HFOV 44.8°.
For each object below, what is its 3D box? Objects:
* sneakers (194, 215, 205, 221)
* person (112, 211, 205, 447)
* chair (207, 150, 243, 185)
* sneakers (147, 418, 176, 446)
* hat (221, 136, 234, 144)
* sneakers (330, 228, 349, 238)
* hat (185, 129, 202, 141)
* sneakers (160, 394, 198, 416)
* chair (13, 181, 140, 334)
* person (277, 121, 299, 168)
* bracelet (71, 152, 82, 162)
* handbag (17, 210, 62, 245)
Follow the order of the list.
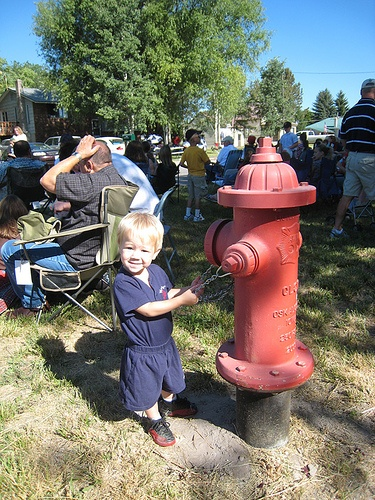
[{"bbox_3d":[0.190,-0.544,7.724,0.080,0.089,0.199,7,12,24],"label":"sneakers"},{"bbox_3d":[-0.150,0.392,2.220,0.402,1.171,0.421,2,16,-1],"label":"person"},{"bbox_3d":[0.874,-1.759,9.670,0.746,0.741,1.142,-7,12,-26],"label":"chair"},{"bbox_3d":[-0.132,0.906,2.252,0.084,0.061,0.163,-6,10,-33],"label":"sneakers"},{"bbox_3d":[0.971,-2.551,10.490,0.303,0.138,0.223,6,-6,-35],"label":"hat"},{"bbox_3d":[1.966,-0.218,5.886,0.259,0.100,0.092,-4,14,-41],"label":"sneakers"},{"bbox_3d":[0.102,-2.096,8.152,0.265,0.133,0.180,-32,26,-10],"label":"hat"},{"bbox_3d":[-0.052,0.844,2.453,0.240,0.103,0.089,-1,4,-9],"label":"sneakers"},{"bbox_3d":[-0.908,0.058,3.466,0.988,1.043,0.826,0,8,8],"label":"chair"},{"bbox_3d":[2.368,-2.497,10.686,0.375,0.928,0.437,-16,21,-41],"label":"person"},{"bbox_3d":[-0.780,-0.672,3.227,0.072,0.067,0.049,26,47,22],"label":"bracelet"},{"bbox_3d":[-1.055,-0.169,3.264,0.281,0.272,0.119,1,38,4],"label":"handbag"}]
